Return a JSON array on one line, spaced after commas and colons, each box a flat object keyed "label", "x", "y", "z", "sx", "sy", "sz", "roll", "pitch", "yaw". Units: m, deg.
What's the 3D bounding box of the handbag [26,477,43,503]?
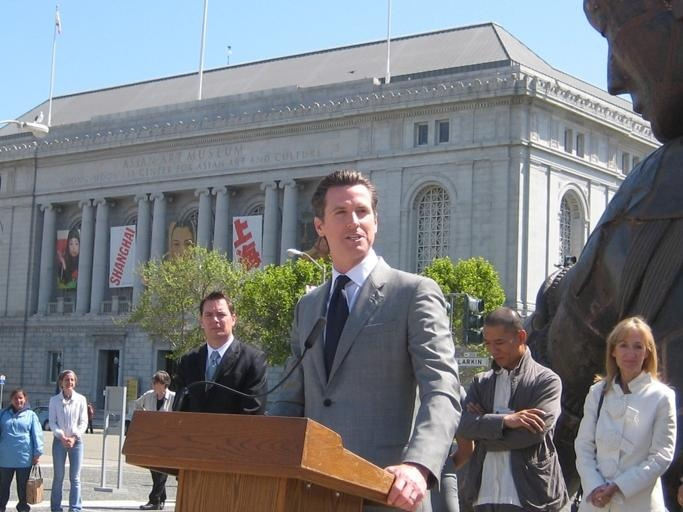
[{"label": "handbag", "x": -4.312, "y": 3.282, "z": 16.027, "sx": 0.135, "sy": 0.411, "sz": 0.299, "roll": -6, "pitch": -10, "yaw": 18}]

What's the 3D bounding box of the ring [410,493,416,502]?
[{"label": "ring", "x": 0.431, "y": 1.486, "z": 7.002, "sx": 0.039, "sy": 0.039, "sz": 0.008, "roll": 6, "pitch": -8, "yaw": -27}]

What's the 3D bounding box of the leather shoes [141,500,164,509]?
[{"label": "leather shoes", "x": -2.898, "y": 3.847, "z": 17.559, "sx": 0.365, "sy": 0.147, "sz": 0.139, "roll": 2, "pitch": -22, "yaw": 3}]
